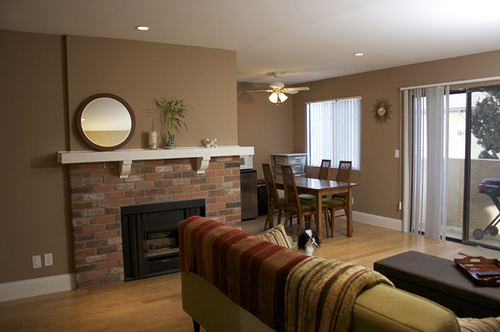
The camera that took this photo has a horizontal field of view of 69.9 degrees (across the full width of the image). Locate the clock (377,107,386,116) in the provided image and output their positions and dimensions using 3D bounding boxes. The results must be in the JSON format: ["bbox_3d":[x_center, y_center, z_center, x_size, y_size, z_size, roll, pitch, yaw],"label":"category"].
[{"bbox_3d":[2.574,-1.067,7.001,0.023,0.171,0.188,-8,14,-29],"label":"clock"}]

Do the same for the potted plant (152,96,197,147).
[{"bbox_3d":[-1.136,-0.650,5.204,0.685,0.708,0.389,-6,8,-31],"label":"potted plant"}]

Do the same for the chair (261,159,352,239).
[{"bbox_3d":[1.201,0.588,7.177,1.867,1.540,1.214,-5,8,-33],"label":"chair"}]

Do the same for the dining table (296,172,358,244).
[{"bbox_3d":[1.148,0.608,6.957,1.659,1.307,1.094,-5,8,-37],"label":"dining table"}]

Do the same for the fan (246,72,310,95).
[{"bbox_3d":[0.511,-1.601,6.960,1.213,0.473,1.311,-1,13,8],"label":"fan"}]
